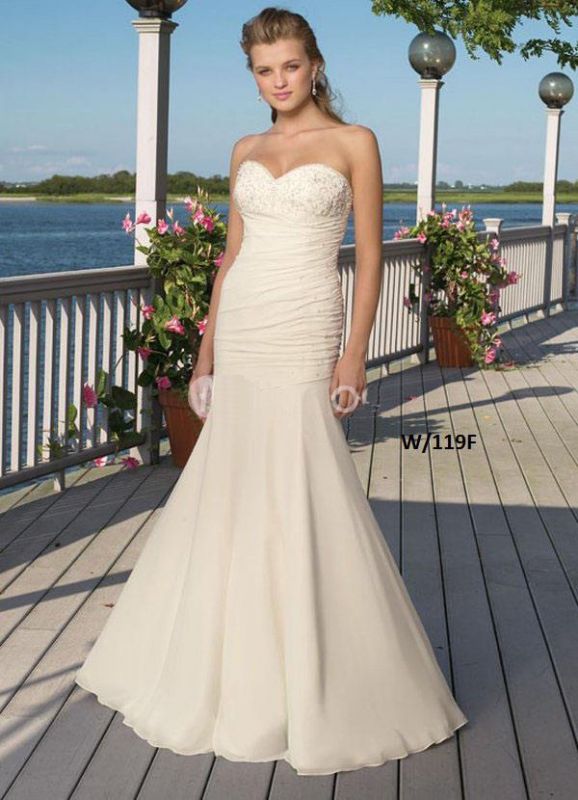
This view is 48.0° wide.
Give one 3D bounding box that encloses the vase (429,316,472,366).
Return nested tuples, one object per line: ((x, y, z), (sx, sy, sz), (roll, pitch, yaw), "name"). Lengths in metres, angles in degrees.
((1.638, -0.613, 6.692), (0.349, 0.448, 0.385), (5, 8, 23), "vase")

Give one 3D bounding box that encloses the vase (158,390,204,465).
((-0.598, 0.153, 3.639), (0.359, 0.404, 0.355), (1, 4, -2), "vase")

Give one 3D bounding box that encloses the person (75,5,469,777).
((-0.034, -0.029, 1.445), (0.782, 1.336, 0.353), (1, 0, 24), "person")
